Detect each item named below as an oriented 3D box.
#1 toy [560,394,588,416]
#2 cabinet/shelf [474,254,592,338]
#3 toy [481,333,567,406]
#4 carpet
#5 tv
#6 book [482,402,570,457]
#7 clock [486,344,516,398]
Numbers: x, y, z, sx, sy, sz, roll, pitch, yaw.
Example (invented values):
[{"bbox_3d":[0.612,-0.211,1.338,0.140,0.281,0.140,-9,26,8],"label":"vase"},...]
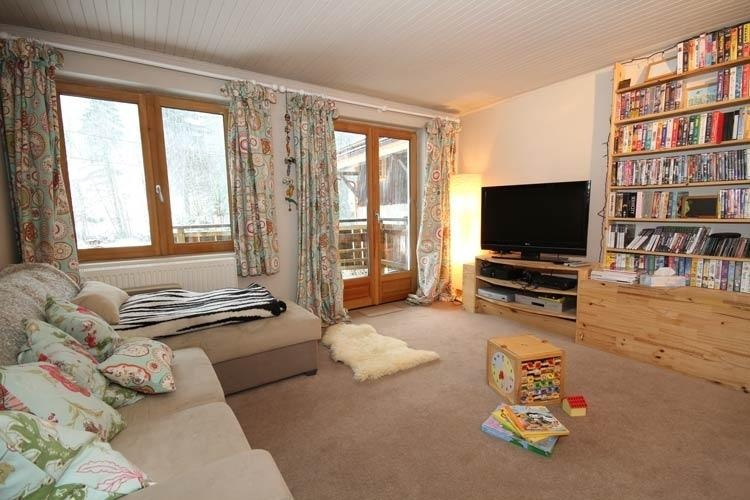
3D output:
[{"bbox_3d":[1.638,1.264,3.892,0.149,0.112,0.154,-2,-1,-9],"label":"toy"},{"bbox_3d":[1.824,0.464,5.548,0.753,0.767,1.317,-15,18,-42],"label":"cabinet/shelf"},{"bbox_3d":[1.299,1.030,4.086,0.546,0.511,0.386,-2,7,-11],"label":"toy"},{"bbox_3d":[-0.011,0.996,4.854,0.899,0.259,1.097,-4,7,-29],"label":"carpet"},{"bbox_3d":[1.814,-0.336,5.460,1.226,0.848,0.135,4,6,38],"label":"tv"},{"bbox_3d":[1.150,1.355,3.634,0.394,0.090,0.381,14,16,37],"label":"book"},{"bbox_3d":[1.089,1.036,4.036,0.042,0.425,0.428,-2,4,-21],"label":"clock"}]
